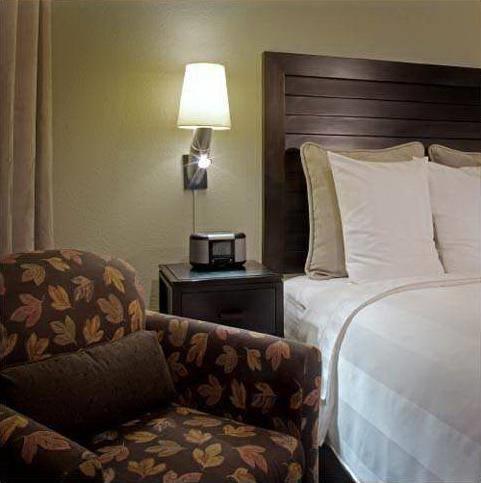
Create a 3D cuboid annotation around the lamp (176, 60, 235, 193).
[{"bbox_3d":[-0.173,-0.451,1.966,0.221,0.561,0.234,1,10,-22],"label":"lamp"}]
